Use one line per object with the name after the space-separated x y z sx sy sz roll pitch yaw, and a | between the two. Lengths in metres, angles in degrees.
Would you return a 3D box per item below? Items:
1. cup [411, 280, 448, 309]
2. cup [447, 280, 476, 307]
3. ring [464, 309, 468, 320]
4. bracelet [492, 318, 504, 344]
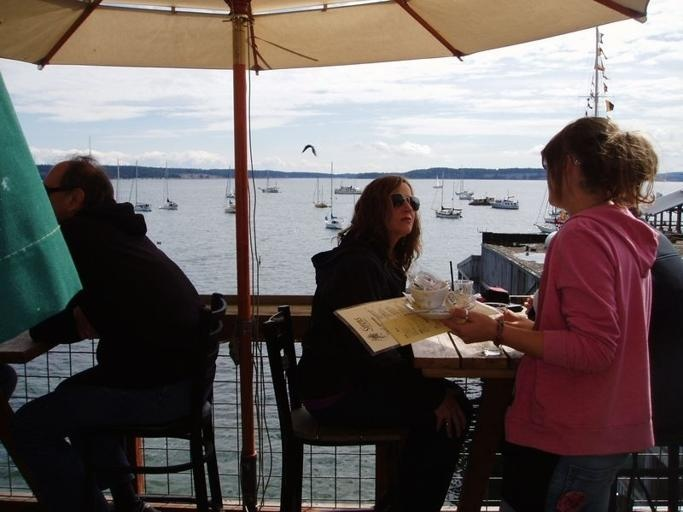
0.533 0.229 5.228 0.164 0.108 0.167 -3 4 0 | cup
0.784 0.242 5.505 0.147 0.187 0.178 1 -4 0 | cup
0.739 0.344 5.052 0.016 0.043 0.037 3 -13 -10 | ring
0.917 0.429 4.971 0.035 0.119 0.088 14 -16 -5 | bracelet
